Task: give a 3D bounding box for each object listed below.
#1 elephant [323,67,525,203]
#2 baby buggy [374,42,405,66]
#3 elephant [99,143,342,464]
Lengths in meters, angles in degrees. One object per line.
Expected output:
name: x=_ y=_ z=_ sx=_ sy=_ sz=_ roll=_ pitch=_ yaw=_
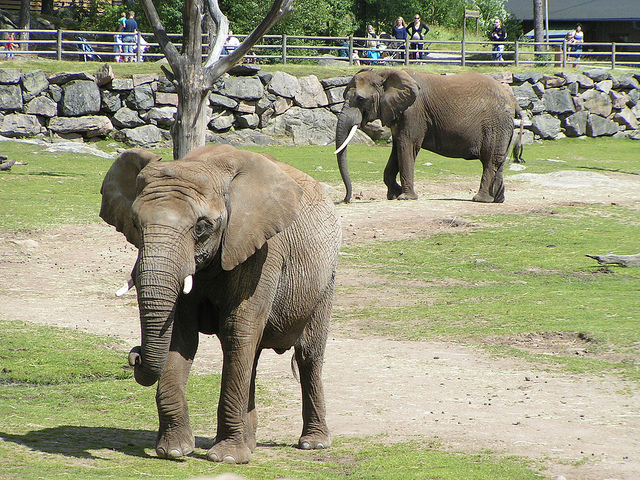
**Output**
elephant: x=2.287 y=-2.192 z=28.398 sx=5.438 sy=2.704 sz=2.263 roll=-1 pitch=-1 yaw=-27
baby buggy: x=2.277 y=-6.237 z=43.542 sx=0.872 sy=0.701 sz=1.356 roll=-1 pitch=0 yaw=40
elephant: x=-1.177 y=0.767 z=15.797 sx=2.672 sy=3.881 sz=1.092 roll=-1 pitch=6 yaw=-27
